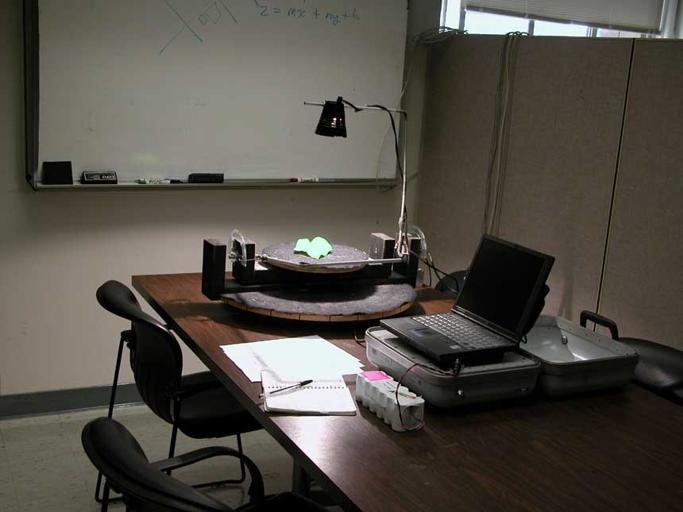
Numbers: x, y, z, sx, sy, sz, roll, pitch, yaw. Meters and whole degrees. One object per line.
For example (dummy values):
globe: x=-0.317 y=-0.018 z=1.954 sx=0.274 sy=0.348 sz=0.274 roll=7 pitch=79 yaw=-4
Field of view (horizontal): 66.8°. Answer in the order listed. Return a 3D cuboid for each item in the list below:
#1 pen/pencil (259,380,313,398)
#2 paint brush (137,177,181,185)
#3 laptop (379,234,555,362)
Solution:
pen/pencil: x=-0.179 y=0.420 z=1.627 sx=0.124 sy=0.019 sz=0.017 roll=-11 pitch=18 yaw=-32
paint brush: x=-1.124 y=-0.456 z=3.196 sx=0.262 sy=0.045 sz=0.058 roll=-6 pitch=17 yaw=-23
laptop: x=0.430 y=0.163 z=1.797 sx=0.485 sy=0.356 sz=0.441 roll=-5 pitch=15 yaw=-22
